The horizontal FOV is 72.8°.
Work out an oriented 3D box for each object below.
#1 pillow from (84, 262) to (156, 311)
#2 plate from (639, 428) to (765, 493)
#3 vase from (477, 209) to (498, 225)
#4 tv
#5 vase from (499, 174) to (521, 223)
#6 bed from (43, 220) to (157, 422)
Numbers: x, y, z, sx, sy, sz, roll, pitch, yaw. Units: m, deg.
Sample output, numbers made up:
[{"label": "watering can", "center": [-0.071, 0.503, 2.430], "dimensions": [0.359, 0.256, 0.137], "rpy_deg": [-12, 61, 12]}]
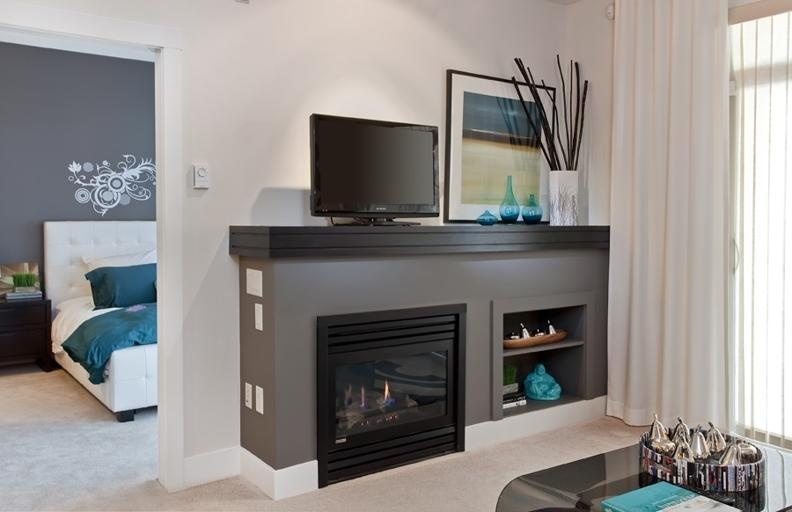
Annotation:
[{"label": "pillow", "center": [-2.843, 0.305, 5.607], "dimensions": [0.658, 0.384, 0.416], "rpy_deg": [-5, 10, -23]}, {"label": "plate", "center": [1.472, 1.047, 2.651], "dimensions": [0.334, 0.086, 0.352], "rpy_deg": [0, 1, -33]}, {"label": "vase", "center": [0.703, -0.306, 4.208], "dimensions": [0.128, 0.095, 0.146], "rpy_deg": [0, 6, 3]}, {"label": "tv", "center": [-0.176, -0.591, 3.746], "dimensions": [0.815, 0.581, 0.212], "rpy_deg": [0, -3, -29]}, {"label": "vase", "center": [0.914, -0.465, 4.382], "dimensions": [0.140, 0.379, 0.369], "rpy_deg": [1, 9, 13]}, {"label": "bed", "center": [-2.608, 0.461, 5.464], "dimensions": [1.424, 1.366, 2.108], "rpy_deg": [-4, 8, -39]}]
